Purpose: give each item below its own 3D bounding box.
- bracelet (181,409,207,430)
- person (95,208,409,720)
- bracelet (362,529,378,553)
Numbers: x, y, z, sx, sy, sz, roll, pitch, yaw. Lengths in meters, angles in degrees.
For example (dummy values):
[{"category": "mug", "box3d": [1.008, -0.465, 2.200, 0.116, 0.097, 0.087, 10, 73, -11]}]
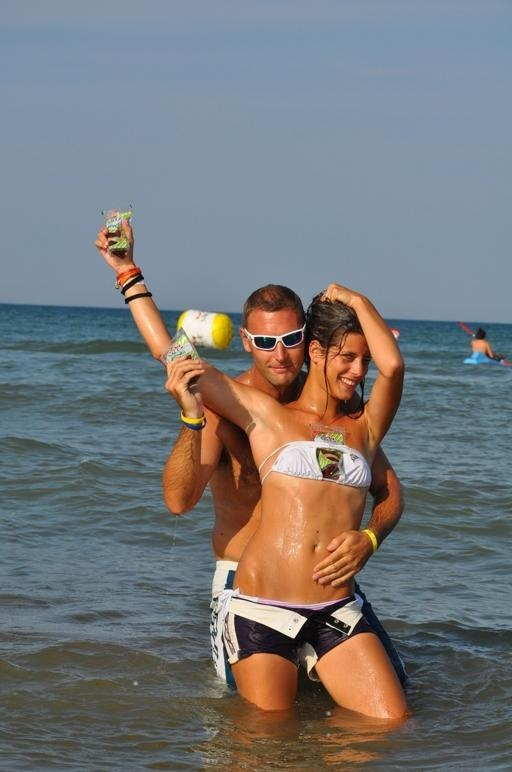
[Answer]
[{"category": "bracelet", "box3d": [-0.287, 0.156, 4.817, 0.100, 0.105, 0.228, 3, 8, -4]}, {"category": "person", "box3d": [0.237, 0.498, 4.970, 0.979, 1.909, 0.685, 3, 9, -3]}, {"category": "bracelet", "box3d": [0.510, 0.703, 4.925, 0.082, 0.064, 0.076, -37, 51, 0]}]
